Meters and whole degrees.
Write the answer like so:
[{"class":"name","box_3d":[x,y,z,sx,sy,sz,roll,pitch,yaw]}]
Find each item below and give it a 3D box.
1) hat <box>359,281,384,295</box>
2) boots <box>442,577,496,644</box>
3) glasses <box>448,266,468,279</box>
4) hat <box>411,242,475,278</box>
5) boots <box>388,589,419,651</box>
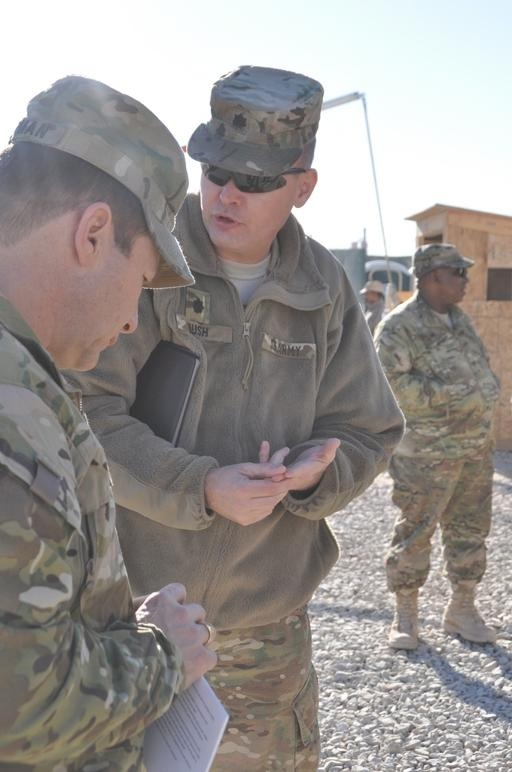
[{"class":"hat","box_3d":[2.034,-1.677,12.107,0.341,0.145,0.241,-2,5,-20]},{"class":"boots","box_3d":[1.449,1.514,4.782,0.166,0.347,0.376,5,2,-40]},{"class":"glasses","box_3d":[1.425,-0.802,4.986,0.130,0.063,0.094,2,2,17]},{"class":"hat","box_3d":[1.320,-0.902,5.023,0.361,0.177,0.245,-9,13,4]},{"class":"boots","box_3d":[0.999,1.515,4.757,0.196,0.397,0.549,0,-1,16]}]
